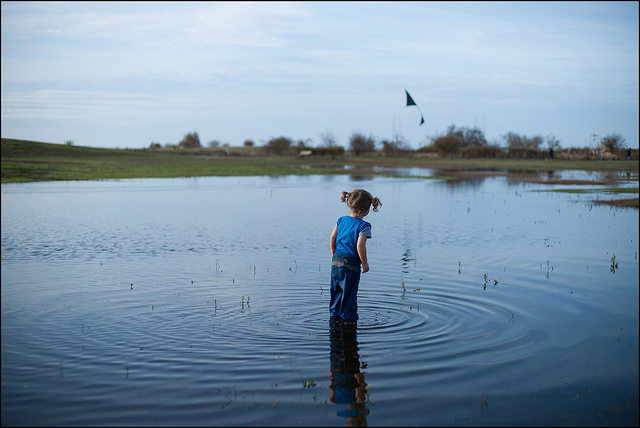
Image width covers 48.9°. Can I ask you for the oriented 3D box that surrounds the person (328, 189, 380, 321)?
[{"bbox_3d":[0.539,0.706,12.802,0.895,2.354,0.579,2,11,14],"label":"person"}]
